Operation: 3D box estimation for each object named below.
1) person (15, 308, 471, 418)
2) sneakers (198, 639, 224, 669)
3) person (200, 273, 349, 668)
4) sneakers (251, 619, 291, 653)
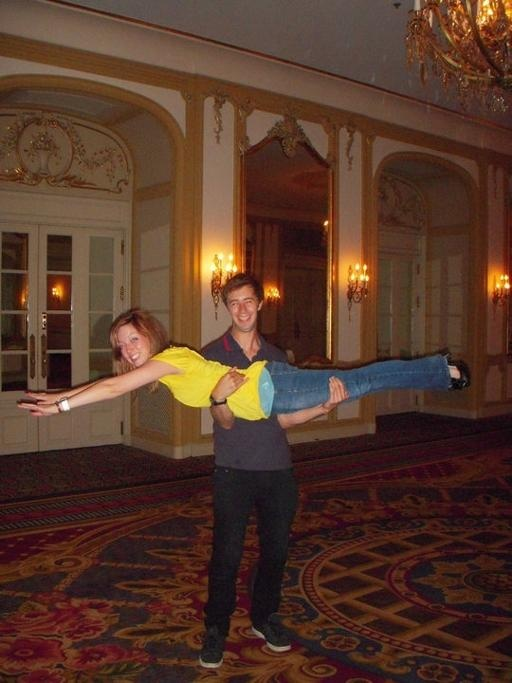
[{"bbox_3d":[-0.040,0.152,2.301,1.645,0.450,0.648,-1,-1,-1],"label":"person"},{"bbox_3d":[-0.177,1.207,2.201,0.056,0.059,0.154,2,-18,0],"label":"sneakers"},{"bbox_3d":[0.027,0.508,2.276,0.517,1.553,0.459,0,-1,-20],"label":"person"},{"bbox_3d":[0.075,1.229,2.404,0.088,0.086,0.212,4,-14,-27],"label":"sneakers"}]
